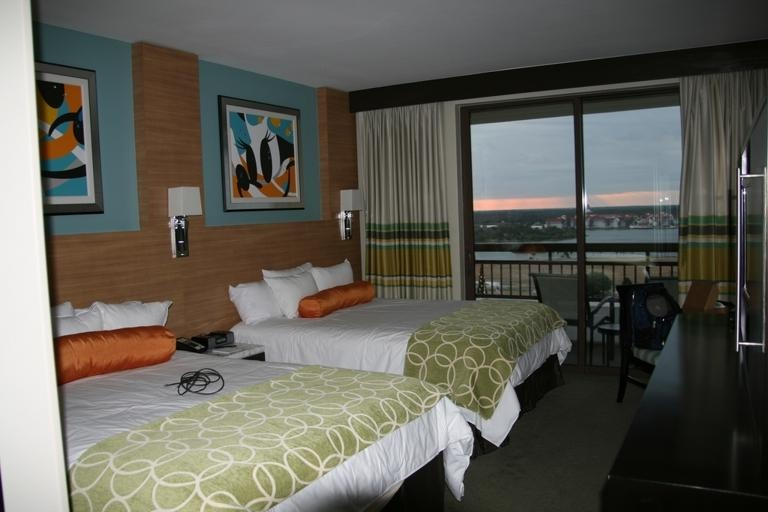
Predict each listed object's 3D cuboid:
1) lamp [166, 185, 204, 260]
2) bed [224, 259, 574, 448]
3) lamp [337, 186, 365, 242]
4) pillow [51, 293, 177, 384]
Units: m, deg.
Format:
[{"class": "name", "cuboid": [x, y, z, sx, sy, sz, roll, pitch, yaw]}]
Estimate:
[{"class": "lamp", "cuboid": [-2.061, -0.347, 4.879, 0.315, 0.731, 0.201, 5, 11, 31]}, {"class": "bed", "cuboid": [0.140, 0.828, 4.839, 2.285, 0.925, 2.071, 0, 4, 22]}, {"class": "lamp", "cuboid": [-0.454, -0.597, 6.814, 0.357, 0.717, 0.464, 3, 10, 24]}, {"class": "pillow", "cuboid": [-2.317, 0.631, 3.906, 0.691, 0.204, 0.651, -6, 26, -44]}]
